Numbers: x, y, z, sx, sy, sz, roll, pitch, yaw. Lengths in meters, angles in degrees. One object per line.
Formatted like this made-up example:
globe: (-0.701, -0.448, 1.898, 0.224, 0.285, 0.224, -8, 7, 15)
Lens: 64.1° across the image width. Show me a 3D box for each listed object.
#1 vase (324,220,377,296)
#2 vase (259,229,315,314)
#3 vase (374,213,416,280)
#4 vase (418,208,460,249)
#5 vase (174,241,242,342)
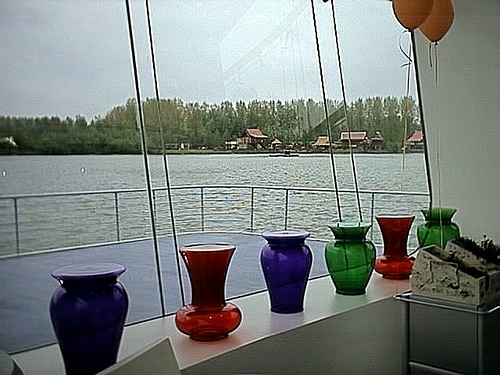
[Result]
vase: (0.658, 0.445, 2.716, 0.306, 0.439, 0.305, -3, 9, -32)
vase: (0.202, 0.493, 2.398, 0.312, 0.522, 0.312, 5, 9, 22)
vase: (1.115, 0.443, 3.056, 0.302, 0.486, 0.311, -5, 6, -20)
vase: (1.403, 0.286, 3.003, 0.239, 0.325, 0.256, 12, 5, 19)
vase: (-0.213, 0.534, 2.042, 0.325, 0.494, 0.332, 3, -5, -34)
